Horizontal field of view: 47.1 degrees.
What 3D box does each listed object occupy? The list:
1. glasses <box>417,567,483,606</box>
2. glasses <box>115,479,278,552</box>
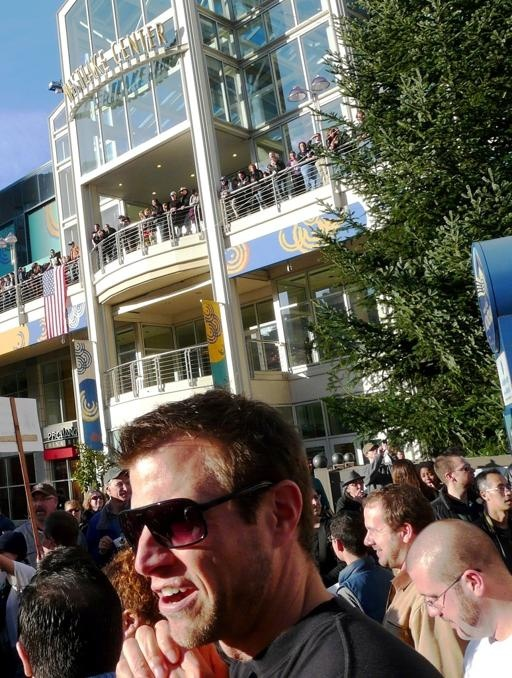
[{"bbox_3d":[0.595,0.792,1.846,0.171,0.049,0.159,-25,-18,-18],"label":"glasses"},{"bbox_3d":[-0.112,0.314,1.023,0.203,0.062,0.194,-8,-11,-41],"label":"glasses"}]
